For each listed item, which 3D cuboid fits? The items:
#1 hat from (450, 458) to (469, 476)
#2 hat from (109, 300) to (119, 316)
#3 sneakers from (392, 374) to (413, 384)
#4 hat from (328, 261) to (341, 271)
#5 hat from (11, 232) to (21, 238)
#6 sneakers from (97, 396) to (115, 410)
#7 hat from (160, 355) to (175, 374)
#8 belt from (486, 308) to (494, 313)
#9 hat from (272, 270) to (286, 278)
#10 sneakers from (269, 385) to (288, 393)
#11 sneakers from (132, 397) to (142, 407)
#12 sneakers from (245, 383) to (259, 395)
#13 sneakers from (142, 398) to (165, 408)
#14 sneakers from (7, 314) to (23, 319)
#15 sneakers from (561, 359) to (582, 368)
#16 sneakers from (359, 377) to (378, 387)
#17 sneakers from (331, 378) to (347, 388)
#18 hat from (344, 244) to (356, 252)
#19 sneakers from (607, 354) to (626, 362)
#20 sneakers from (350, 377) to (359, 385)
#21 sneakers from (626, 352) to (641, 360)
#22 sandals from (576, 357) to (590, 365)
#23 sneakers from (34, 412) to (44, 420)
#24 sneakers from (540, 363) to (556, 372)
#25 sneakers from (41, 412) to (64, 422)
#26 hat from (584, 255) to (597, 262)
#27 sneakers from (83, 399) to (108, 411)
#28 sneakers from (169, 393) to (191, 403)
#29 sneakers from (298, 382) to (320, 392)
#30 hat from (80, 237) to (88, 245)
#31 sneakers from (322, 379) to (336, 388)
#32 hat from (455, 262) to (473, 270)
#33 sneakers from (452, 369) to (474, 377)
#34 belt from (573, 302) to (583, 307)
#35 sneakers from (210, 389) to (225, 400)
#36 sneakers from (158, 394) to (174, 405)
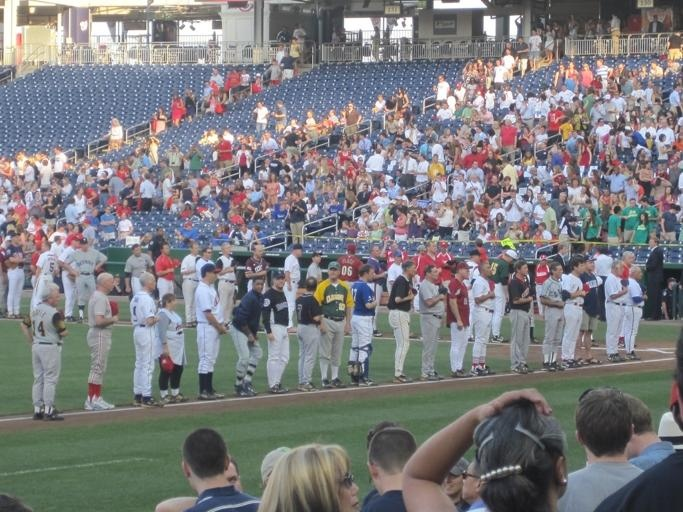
[{"bbox_3d":[2.659,4.711,35.432,0.386,0.504,1.400,1,1,5],"label":"hat"},{"bbox_3d":[-6.212,1.439,42.986,0.198,0.395,0.568,0,1,-10],"label":"hat"},{"bbox_3d":[1.773,3.526,44.968,0.403,0.190,0.224,-3,-4,20],"label":"sneakers"},{"bbox_3d":[-0.283,0.312,44.620,0.330,0.267,0.567,3,0,8],"label":"hat"},{"bbox_3d":[-10.864,-0.657,52.554,0.268,0.137,0.368,1,1,-15],"label":"hat"},{"bbox_3d":[-6.319,4.029,42.705,0.568,0.286,0.211,3,4,0],"label":"sneakers"},{"bbox_3d":[-4.728,2.956,42.857,0.413,0.560,0.287,-13,6,-37],"label":"hat"},{"bbox_3d":[4.352,1.619,45.815,0.075,0.160,0.358,1,1,22],"label":"belt"},{"bbox_3d":[-1.897,0.601,47.801,0.427,0.219,0.638,1,1,-14],"label":"hat"},{"bbox_3d":[-1.743,3.743,44.053,0.584,0.275,0.203,-2,-3,10],"label":"sneakers"},{"bbox_3d":[-5.554,3.977,42.900,0.267,0.275,0.084,1,1,41],"label":"sneakers"},{"bbox_3d":[-2.448,3.747,43.803,0.416,0.314,0.153,0,2,5],"label":"sneakers"},{"bbox_3d":[-5.098,4.030,42.788,0.586,0.294,0.218,1,1,-3],"label":"sneakers"},{"bbox_3d":[-10.921,2.080,52.898,0.560,0.266,0.199,-2,1,9],"label":"sneakers"},{"bbox_3d":[6.756,3.180,46.166,0.578,0.280,0.222,0,3,-11],"label":"sneakers"},{"bbox_3d":[0.753,3.607,44.682,0.419,0.196,0.206,-3,1,15],"label":"sneakers"},{"bbox_3d":[-0.038,3.645,44.616,0.476,0.233,0.195,-3,-3,32],"label":"sneakers"},{"bbox_3d":[0.337,-0.200,49.909,0.245,0.252,0.255,-1,8,-9],"label":"hat"},{"bbox_3d":[8.183,3.050,46.752,0.376,0.178,0.241,-2,0,10],"label":"sneakers"},{"bbox_3d":[0.407,3.576,44.777,0.208,0.240,0.346,1,1,0],"label":"sneakers"},{"bbox_3d":[8.668,2.996,46.736,0.509,0.235,0.172,0,2,-33],"label":"sneakers"},{"bbox_3d":[7.107,3.149,46.467,0.459,0.212,0.171,-1,1,-26],"label":"sandals"},{"bbox_3d":[-8.041,4.269,41.798,0.302,0.207,0.073,1,1,13],"label":"sneakers"},{"bbox_3d":[6.105,3.263,45.917,0.393,0.241,0.251,1,1,10],"label":"sneakers"},{"bbox_3d":[-7.645,4.289,41.787,0.476,0.221,0.217,-1,2,-15],"label":"sneakers"},{"bbox_3d":[7.514,0.095,47.710,0.302,0.148,0.430,1,0,-13],"label":"hat"},{"bbox_3d":[-6.635,4.065,42.579,0.622,0.315,0.255,0,1,-1],"label":"sneakers"},{"bbox_3d":[-4.409,3.918,43.233,0.552,0.267,0.192,-1,9,-24],"label":"sneakers"},{"bbox_3d":[-0.950,3.728,44.256,0.489,0.226,0.218,0,1,-1],"label":"sneakers"},{"bbox_3d":[-8.222,-0.437,50.310,0.236,0.214,0.281,1,1,-1],"label":"hat"},{"bbox_3d":[-0.345,3.655,44.524,0.423,0.207,0.163,-4,-2,32],"label":"sneakers"},{"bbox_3d":[3.561,0.341,45.989,0.352,0.278,0.686,1,1,6],"label":"hat"},{"bbox_3d":[3.485,3.418,45.414,0.423,0.192,0.244,-3,-1,17],"label":"sneakers"},{"bbox_3d":[7.017,1.421,46.259,0.145,0.158,0.450,1,1,34],"label":"belt"},{"bbox_3d":[-3.408,3.882,43.530,0.390,0.296,0.138,0,2,8],"label":"sneakers"},{"bbox_3d":[-4.787,3.962,43.025,0.363,0.274,0.177,-5,1,7],"label":"sneakers"}]
